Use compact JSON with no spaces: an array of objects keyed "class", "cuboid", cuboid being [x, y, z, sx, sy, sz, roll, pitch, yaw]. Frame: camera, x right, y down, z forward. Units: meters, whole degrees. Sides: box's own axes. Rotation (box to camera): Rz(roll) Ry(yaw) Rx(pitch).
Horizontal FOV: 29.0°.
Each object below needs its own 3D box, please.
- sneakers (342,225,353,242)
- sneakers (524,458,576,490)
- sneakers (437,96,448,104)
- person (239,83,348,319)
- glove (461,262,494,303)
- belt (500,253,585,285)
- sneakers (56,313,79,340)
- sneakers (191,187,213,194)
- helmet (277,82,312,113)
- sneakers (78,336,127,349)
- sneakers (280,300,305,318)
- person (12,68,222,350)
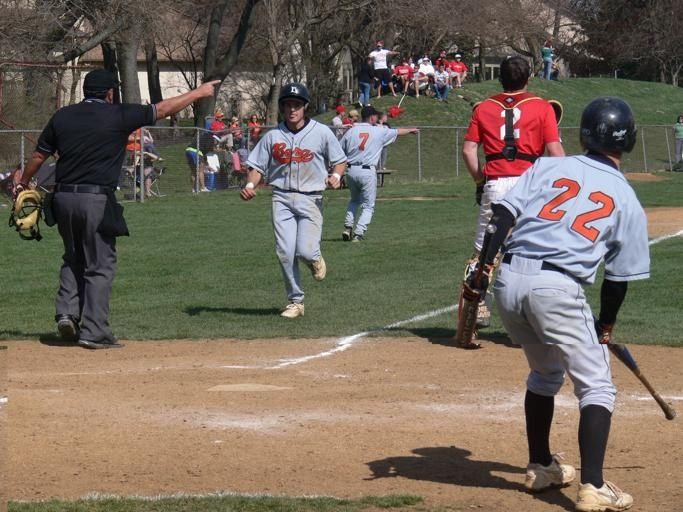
[{"class":"sneakers","cuboid":[0.134,-0.358,23.631,0.130,0.223,0.344,-1,-24,7]},{"class":"sneakers","cuboid":[2.168,2.278,13.697,0.610,0.241,0.254,-7,9,-25]},{"class":"sneakers","cuboid":[3.362,-5.158,43.972,0.292,0.245,0.133,-7,-20,25]},{"class":"person","cuboid":[-0.611,-0.711,17.914,1.342,3.194,0.663,-1,6,1]},{"class":"glove","cuboid":[1.425,0.280,13.845,0.401,0.428,0.202,11,-2,13]},{"class":"belt","cuboid":[2.053,0.141,13.502,0.812,0.291,0.165,0,6,7]},{"class":"sneakers","cuboid":[-3.529,0.928,17.028,0.199,0.191,0.423,-3,-30,-5]},{"class":"sneakers","cuboid":[-3.445,-1.610,32.538,0.468,0.158,0.153,-1,6,4]},{"class":"helmet","cuboid":[-0.627,-2.168,17.681,0.331,0.258,0.355,3,21,4]},{"class":"sneakers","cuboid":[-3.078,1.092,16.941,0.559,0.206,0.182,0,5,-21]},{"class":"sneakers","cuboid":[-0.678,0.762,18.337,0.176,0.123,0.346,1,1,45]},{"class":"person","cuboid":[-3.157,-0.605,16.901,1.786,3.542,0.593,-3,7,-15]}]
